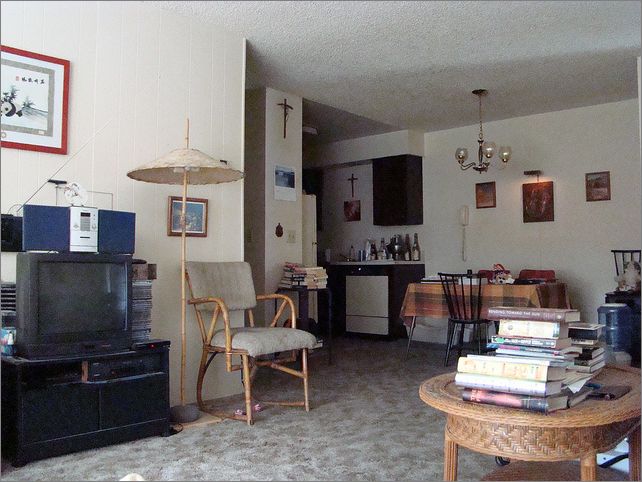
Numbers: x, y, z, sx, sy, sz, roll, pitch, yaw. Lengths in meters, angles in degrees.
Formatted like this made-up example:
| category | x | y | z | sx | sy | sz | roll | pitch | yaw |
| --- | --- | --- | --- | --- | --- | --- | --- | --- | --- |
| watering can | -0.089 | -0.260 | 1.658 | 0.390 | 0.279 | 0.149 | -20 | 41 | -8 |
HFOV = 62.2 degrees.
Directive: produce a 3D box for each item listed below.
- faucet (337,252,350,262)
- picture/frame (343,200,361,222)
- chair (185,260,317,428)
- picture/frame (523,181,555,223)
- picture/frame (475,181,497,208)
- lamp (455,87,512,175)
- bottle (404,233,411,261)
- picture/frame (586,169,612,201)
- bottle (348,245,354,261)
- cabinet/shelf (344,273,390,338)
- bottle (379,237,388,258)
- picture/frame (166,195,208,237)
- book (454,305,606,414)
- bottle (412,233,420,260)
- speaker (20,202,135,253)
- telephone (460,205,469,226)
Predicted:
| category | x | y | z | sx | sy | sz | roll | pitch | yaw |
| --- | --- | --- | --- | --- | --- | --- | --- | --- | --- |
| faucet | 0.332 | 0.239 | 8.173 | 0.154 | 0.109 | 0.092 | -1 | -2 | 19 |
| picture/frame | 0.494 | -0.482 | 8.230 | 0.032 | 0.338 | 0.325 | -3 | 3 | -45 |
| chair | -0.549 | 0.711 | 4.059 | 0.853 | 1.161 | 0.715 | -5 | -5 | 42 |
| picture/frame | 2.732 | -0.500 | 6.635 | 0.070 | 0.718 | 0.507 | 3 | -3 | -44 |
| picture/frame | 2.199 | -0.628 | 7.073 | 0.047 | 0.468 | 0.346 | 2 | -2 | -43 |
| lamp | 1.873 | -1.297 | 6.253 | 0.676 | 0.948 | 0.682 | 0 | -1 | -22 |
| bottle | 1.237 | 0.061 | 7.600 | 0.095 | 0.366 | 0.192 | 0 | 1 | 6 |
| picture/frame | 3.272 | -0.660 | 6.250 | 0.050 | 0.499 | 0.353 | 6 | -6 | -42 |
| bottle | 0.472 | 0.155 | 8.102 | 0.095 | 0.205 | 0.209 | 0 | 1 | 3 |
| cabinet/shelf | 0.653 | 0.853 | 7.250 | 0.815 | 0.989 | 0.502 | -4 | -5 | 38 |
| bottle | 0.912 | 0.087 | 7.702 | 0.125 | 0.312 | 0.359 | 0 | 1 | 6 |
| picture/frame | -1.077 | -0.206 | 4.231 | 0.025 | 0.329 | 0.348 | 3 | 2 | 42 |
| book | 0.864 | 0.353 | 2.205 | 0.382 | 0.285 | 0.587 | -5 | -6 | 36 |
| bottle | 1.355 | 0.069 | 7.552 | 0.106 | 0.381 | 0.177 | 0 | 1 | 10 |
| speaker | -1.526 | -0.072 | 3.396 | 0.657 | 0.301 | 0.088 | 0 | 1 | -36 |
| telephone | 1.924 | -0.367 | 7.117 | 0.077 | 0.240 | 0.126 | 1 | 1 | -43 |
